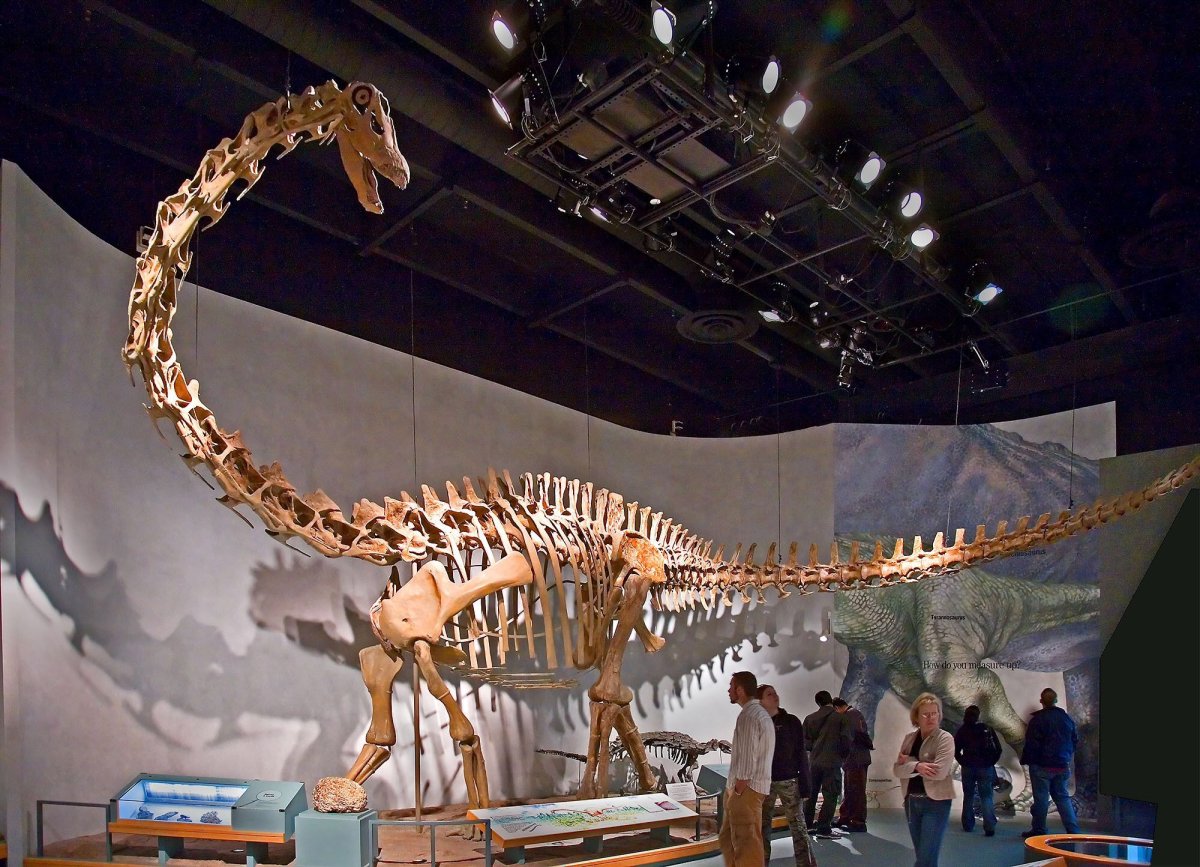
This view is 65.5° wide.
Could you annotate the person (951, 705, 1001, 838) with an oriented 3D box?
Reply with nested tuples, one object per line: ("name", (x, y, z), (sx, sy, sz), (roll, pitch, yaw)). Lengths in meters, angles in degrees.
("person", (3.569, 3.203, 8.849), (0.368, 1.252, 0.339), (-2, 8, 25))

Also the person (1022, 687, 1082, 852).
("person", (4.152, 3.066, 8.656), (0.424, 1.422, 0.435), (-7, 10, -8))

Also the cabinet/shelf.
("cabinet/shelf", (-2.677, 2.680, 6.377), (1.332, 0.555, 0.473), (0, -22, 7))
